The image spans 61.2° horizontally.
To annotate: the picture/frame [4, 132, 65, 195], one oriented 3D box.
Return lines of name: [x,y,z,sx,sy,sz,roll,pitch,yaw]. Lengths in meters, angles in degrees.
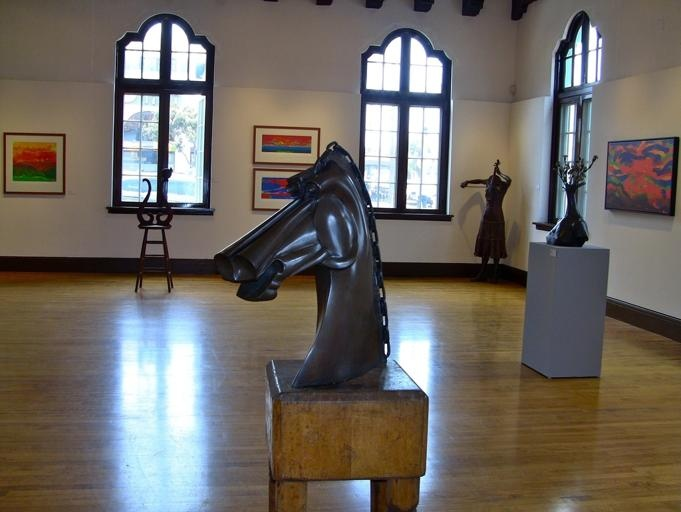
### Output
picture/frame: [-4.905,-1.521,9.144,0.800,0.984,0.034,1,1,-11]

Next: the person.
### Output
person: [2.482,-0.611,9.637,0.655,2.007,0.646,3,8,17]

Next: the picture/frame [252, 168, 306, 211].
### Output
picture/frame: [-1.113,-1.094,9.399,0.665,0.697,0.375,0,8,-7]

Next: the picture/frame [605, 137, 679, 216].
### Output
picture/frame: [3.639,-0.968,6.880,0.084,0.855,0.905,1,4,-15]
